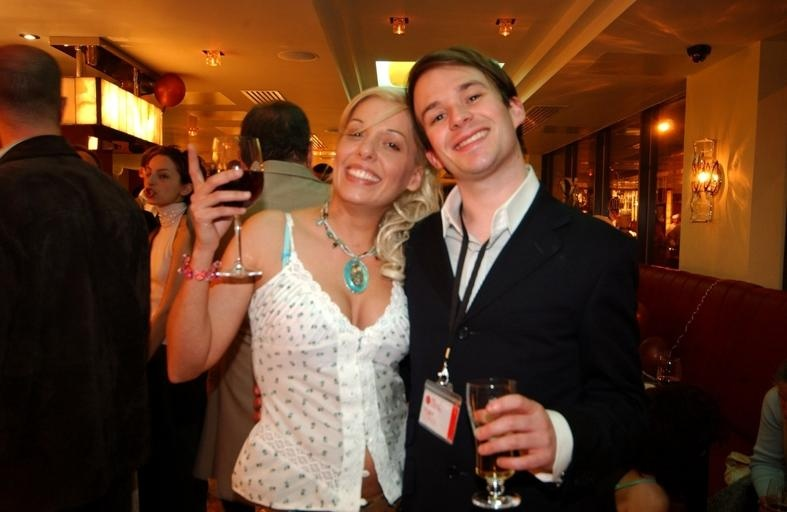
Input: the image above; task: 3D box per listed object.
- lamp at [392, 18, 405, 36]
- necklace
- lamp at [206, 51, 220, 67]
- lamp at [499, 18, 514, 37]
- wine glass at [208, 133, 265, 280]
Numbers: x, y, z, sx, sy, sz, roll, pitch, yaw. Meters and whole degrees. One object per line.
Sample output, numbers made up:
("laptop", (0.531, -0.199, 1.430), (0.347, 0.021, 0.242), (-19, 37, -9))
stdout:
("lamp", (0.086, -2.678, 6.406), (0.147, 0.168, 0.148), (1, -5, -19))
("necklace", (-0.233, -0.049, 2.938), (0.268, 0.424, 0.068), (12, -29, -43))
("lamp", (-2.308, -2.538, 7.109), (0.189, 0.191, 0.192), (-8, 10, -14))
("lamp", (1.315, -2.676, 6.444), (0.151, 0.149, 0.149), (1, -5, -4))
("wine glass", (-0.731, -0.212, 2.601), (0.251, 0.693, 0.326), (5, 6, 2))
